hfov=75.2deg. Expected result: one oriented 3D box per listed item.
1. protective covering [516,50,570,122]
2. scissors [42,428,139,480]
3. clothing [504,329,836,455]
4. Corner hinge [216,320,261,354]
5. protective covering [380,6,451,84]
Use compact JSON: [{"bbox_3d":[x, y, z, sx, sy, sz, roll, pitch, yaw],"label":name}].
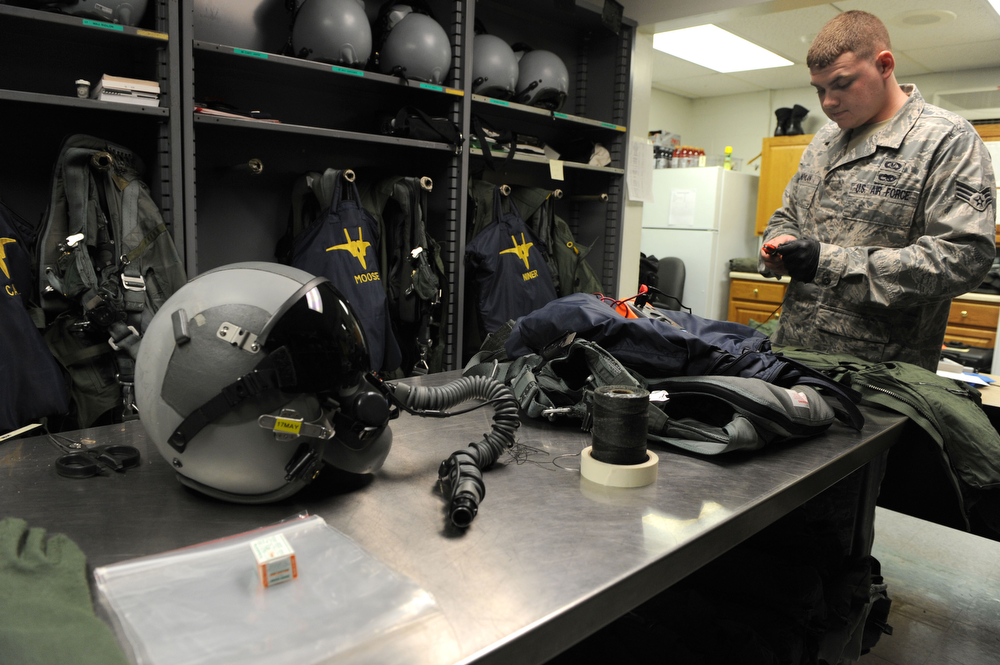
[{"bbox_3d":[0.209,-1.349,3.467,0.332,0.282,0.258,-2,10,3],"label":"protective covering"},{"bbox_3d":[-0.853,0.235,1.346,0.173,0.020,0.087,16,14,31],"label":"scissors"},{"bbox_3d":[0.391,0.159,1.573,0.498,0.170,0.411,6,3,33],"label":"clothing"},{"bbox_3d":[-0.474,0.008,1.207,0.084,0.040,0.030,26,-1,1],"label":"Corner hinge"},{"bbox_3d":[-0.379,-1.234,2.921,0.268,0.320,0.287,2,-5,-17],"label":"protective covering"}]
